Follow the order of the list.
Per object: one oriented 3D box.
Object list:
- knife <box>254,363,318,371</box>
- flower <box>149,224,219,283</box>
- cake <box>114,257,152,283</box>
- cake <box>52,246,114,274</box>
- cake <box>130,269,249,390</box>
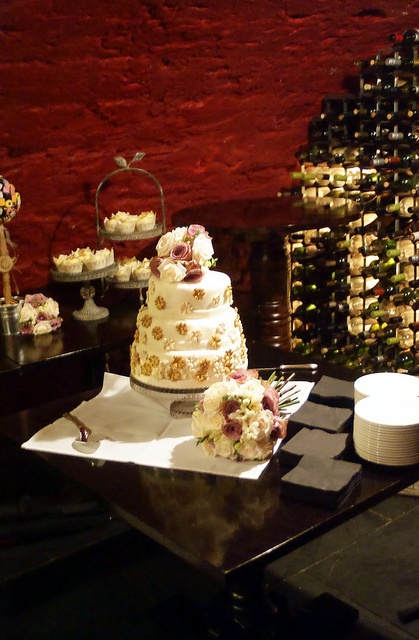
[{"bbox_3d":[0.266,0.161,1.943,0.375,0.019,0.038,0,-9,-17],"label":"knife"},{"bbox_3d":[-0.080,-0.195,1.751,0.195,0.178,0.130,-8,-15,4],"label":"flower"},{"bbox_3d":[-0.427,-0.276,3.181,0.169,0.078,0.241,-2,12,-9],"label":"cake"},{"bbox_3d":[-0.647,-0.304,2.917,0.207,0.062,0.184,-10,10,-32],"label":"cake"},{"bbox_3d":[-0.007,0.024,1.808,0.434,0.338,0.407,-6,-8,-11],"label":"cake"}]
